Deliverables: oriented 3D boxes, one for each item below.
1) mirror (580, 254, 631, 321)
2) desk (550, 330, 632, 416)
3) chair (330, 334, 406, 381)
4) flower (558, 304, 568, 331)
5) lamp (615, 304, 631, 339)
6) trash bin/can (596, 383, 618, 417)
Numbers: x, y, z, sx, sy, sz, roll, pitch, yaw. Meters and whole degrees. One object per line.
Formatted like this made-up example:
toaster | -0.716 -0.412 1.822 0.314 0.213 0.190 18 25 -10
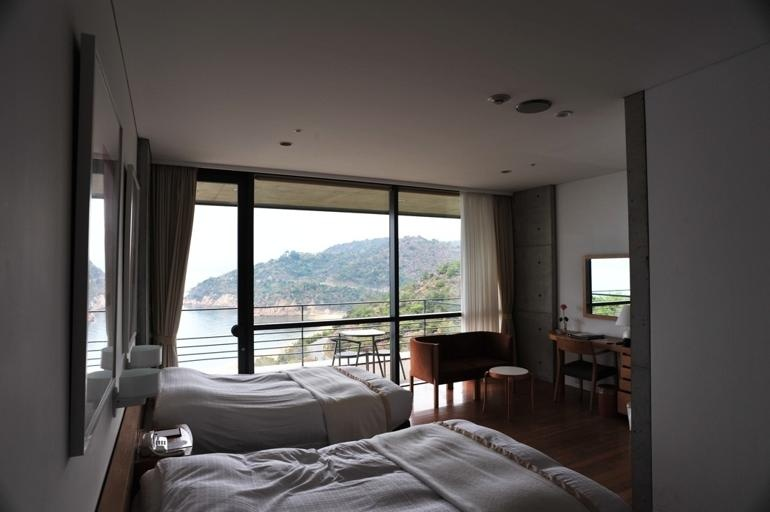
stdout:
mirror | 2.665 0.374 5.948 0.082 0.806 0.864 -1 0 -26
desk | 2.318 1.293 5.773 0.832 1.133 0.676 -4 2 -31
chair | -0.439 1.594 8.397 1.082 0.705 1.083 -5 -6 35
flower | 2.315 0.789 6.425 0.125 0.332 0.412 4 5 20
lamp | 2.660 0.724 5.539 0.128 0.436 0.698 5 5 25
trash bin/can | 2.384 1.576 5.467 0.277 0.300 0.285 1 -4 4
